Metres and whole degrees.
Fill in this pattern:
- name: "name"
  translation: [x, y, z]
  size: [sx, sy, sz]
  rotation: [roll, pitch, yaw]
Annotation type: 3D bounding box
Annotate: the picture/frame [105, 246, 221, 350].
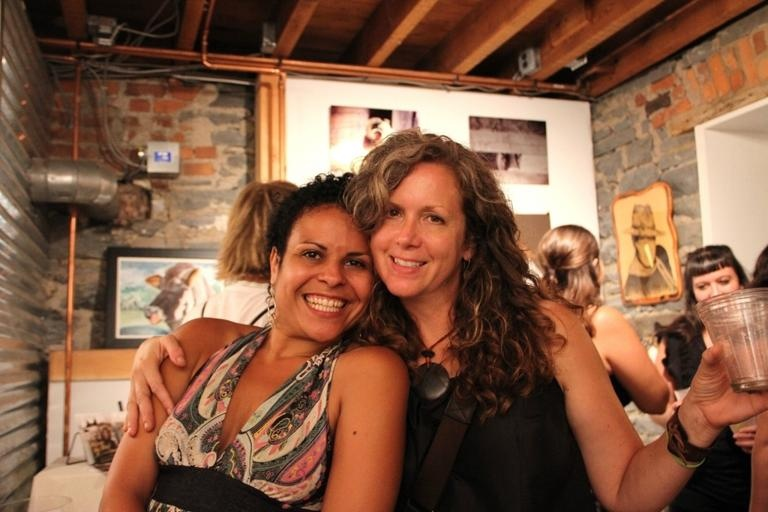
- name: "picture/frame"
  translation: [-1.766, 0.310, 4.374]
  size: [0.966, 0.735, 0.069]
  rotation: [-1, -3, -8]
